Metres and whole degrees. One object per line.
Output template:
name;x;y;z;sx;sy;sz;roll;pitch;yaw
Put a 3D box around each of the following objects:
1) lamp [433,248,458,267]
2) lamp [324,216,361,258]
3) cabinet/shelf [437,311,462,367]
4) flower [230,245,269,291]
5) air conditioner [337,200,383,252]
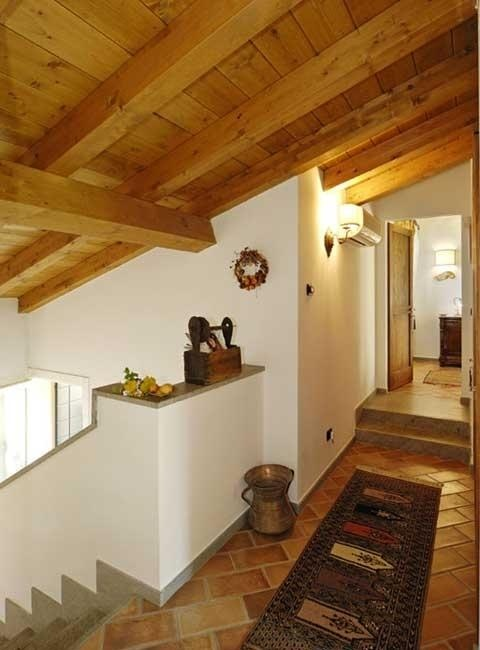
lamp;3.285;-1.045;7.924;0.247;0.329;0.421;2;0;-40
lamp;0.769;-0.657;3.745;0.277;0.347;0.258;1;1;27
cabinet/shelf;3.200;0.260;7.499;0.297;0.787;0.246;3;7;30
flower;0.070;-0.358;3.286;0.254;0.264;0.073;4;8;36
air conditioner;1.003;-0.787;4.057;0.201;0.261;0.714;-1;1;26
